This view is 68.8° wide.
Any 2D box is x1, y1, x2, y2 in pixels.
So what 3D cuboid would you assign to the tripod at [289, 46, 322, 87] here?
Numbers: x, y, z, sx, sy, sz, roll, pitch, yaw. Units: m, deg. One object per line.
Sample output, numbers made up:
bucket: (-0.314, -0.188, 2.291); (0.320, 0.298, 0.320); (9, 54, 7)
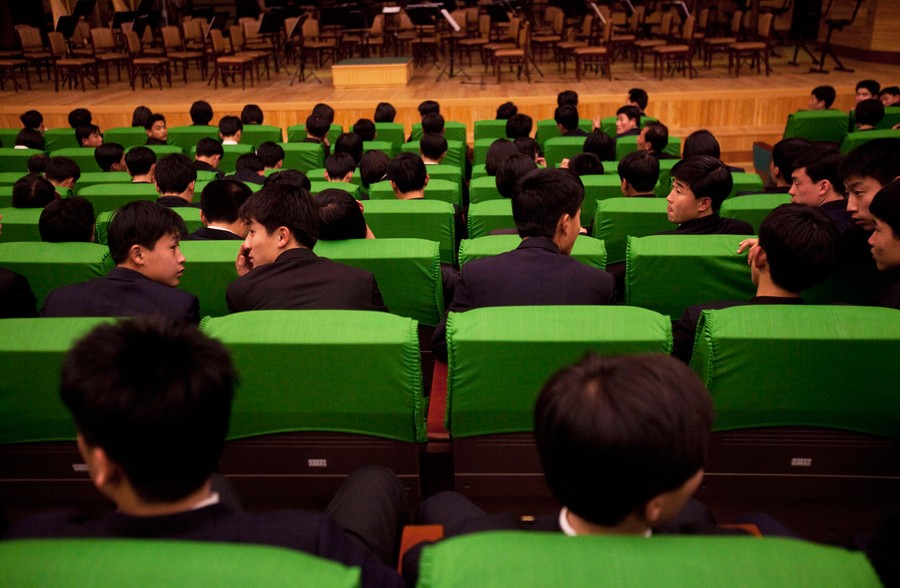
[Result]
tripod: (-2.594, -4.001, 11.624); (0.395, 0.509, 0.351); (-1, -6, -14)
